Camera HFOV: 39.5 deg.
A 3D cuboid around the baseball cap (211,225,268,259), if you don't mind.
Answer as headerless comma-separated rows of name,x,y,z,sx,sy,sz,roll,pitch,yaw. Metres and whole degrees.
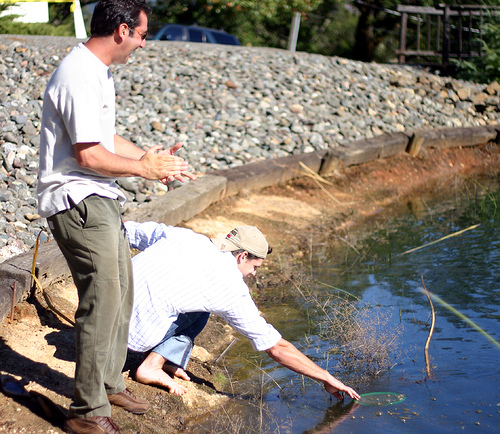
baseball cap,-0.066,0.149,4.741,0.320,0.162,0.216,11,-2,-14
